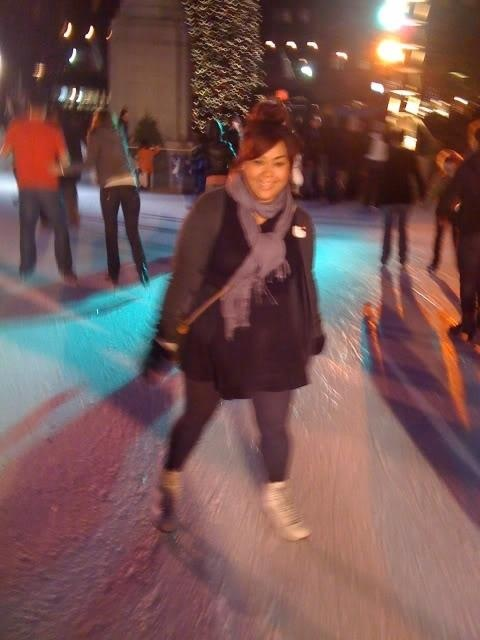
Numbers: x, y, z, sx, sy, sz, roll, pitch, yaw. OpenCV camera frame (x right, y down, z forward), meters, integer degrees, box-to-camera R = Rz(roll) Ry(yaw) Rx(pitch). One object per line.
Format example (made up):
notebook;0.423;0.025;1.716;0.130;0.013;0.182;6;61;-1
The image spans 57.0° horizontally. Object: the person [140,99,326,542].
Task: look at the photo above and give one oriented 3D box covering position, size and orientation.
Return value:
person;0.019;0.050;1.849;0.754;1.760;0.478;1;3;-15
